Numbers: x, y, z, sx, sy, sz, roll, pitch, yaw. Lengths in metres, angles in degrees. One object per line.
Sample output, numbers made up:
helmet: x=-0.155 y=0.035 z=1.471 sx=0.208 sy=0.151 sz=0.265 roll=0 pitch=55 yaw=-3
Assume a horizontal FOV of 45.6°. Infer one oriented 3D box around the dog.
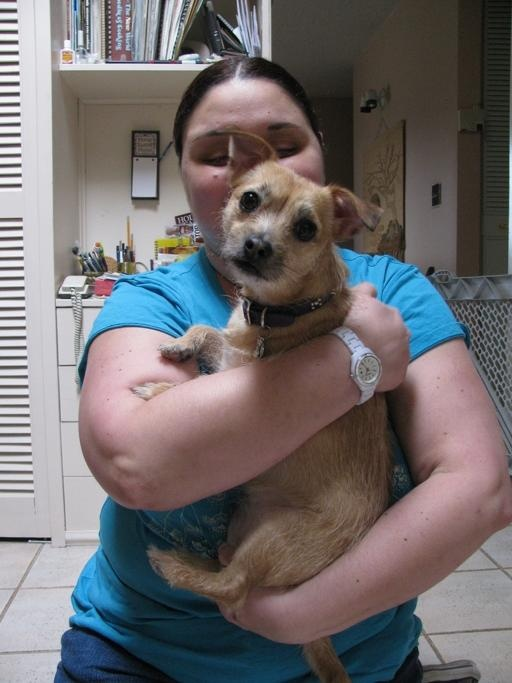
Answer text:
dog: x=0.028 y=0.119 z=1.099 sx=0.419 sy=0.997 sz=0.319 roll=1 pitch=8 yaw=12
